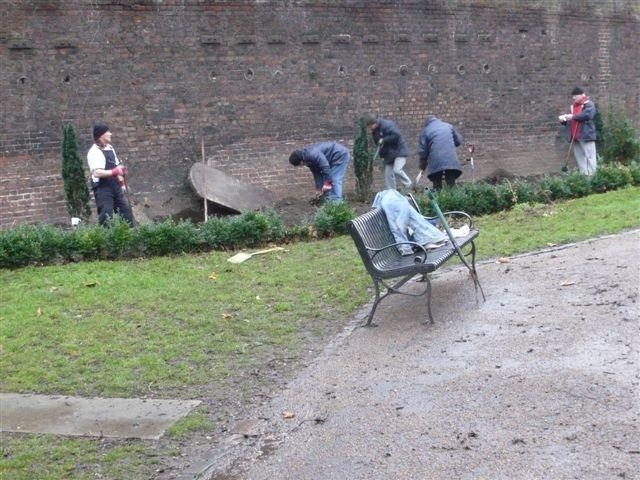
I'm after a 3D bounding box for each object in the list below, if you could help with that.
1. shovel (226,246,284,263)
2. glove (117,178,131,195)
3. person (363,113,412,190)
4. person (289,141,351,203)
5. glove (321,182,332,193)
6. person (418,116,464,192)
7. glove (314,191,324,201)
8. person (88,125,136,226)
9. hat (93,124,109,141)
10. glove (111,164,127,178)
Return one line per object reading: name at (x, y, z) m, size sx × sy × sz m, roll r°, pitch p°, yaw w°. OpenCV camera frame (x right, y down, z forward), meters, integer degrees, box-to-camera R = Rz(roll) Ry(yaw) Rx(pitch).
shovel at (-1.276, 0.300, 17.809) m, size 0.950 × 0.110 × 0.365 m, roll -3°, pitch 21°, yaw -46°
glove at (-4.000, -1.029, 19.591) m, size 0.120 × 0.510 × 0.154 m, roll -13°, pitch -38°, yaw -17°
person at (1.533, -1.834, 21.225) m, size 0.791 × 1.682 × 1.094 m, roll -8°, pitch 5°, yaw 5°
person at (0.052, -1.388, 20.387) m, size 0.892 × 1.200 × 1.117 m, roll -7°, pitch 6°, yaw 19°
glove at (0.137, -1.050, 20.292) m, size 0.161 × 0.202 × 0.211 m, roll -3°, pitch -11°, yaw 2°
person at (2.493, -1.765, 20.186) m, size 0.800 × 1.531 × 0.936 m, roll -12°, pitch 7°, yaw -38°
glove at (-0.017, -0.909, 20.928) m, size 0.239 × 0.111 × 0.331 m, roll -6°, pitch 4°, yaw -11°
person at (-3.991, -1.151, 18.330) m, size 0.782 × 1.484 × 0.784 m, roll -11°, pitch 6°, yaw -30°
hat at (-4.147, -1.993, 18.227) m, size 0.295 × 0.261 × 0.281 m, roll -11°, pitch 12°, yaw -10°
glove at (-3.889, -1.282, 18.573) m, size 0.373 × 0.190 × 0.509 m, roll -3°, pitch 9°, yaw -18°
